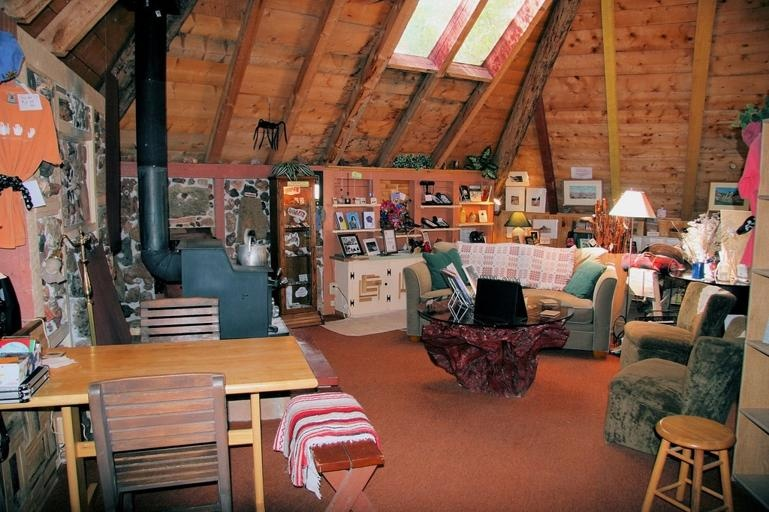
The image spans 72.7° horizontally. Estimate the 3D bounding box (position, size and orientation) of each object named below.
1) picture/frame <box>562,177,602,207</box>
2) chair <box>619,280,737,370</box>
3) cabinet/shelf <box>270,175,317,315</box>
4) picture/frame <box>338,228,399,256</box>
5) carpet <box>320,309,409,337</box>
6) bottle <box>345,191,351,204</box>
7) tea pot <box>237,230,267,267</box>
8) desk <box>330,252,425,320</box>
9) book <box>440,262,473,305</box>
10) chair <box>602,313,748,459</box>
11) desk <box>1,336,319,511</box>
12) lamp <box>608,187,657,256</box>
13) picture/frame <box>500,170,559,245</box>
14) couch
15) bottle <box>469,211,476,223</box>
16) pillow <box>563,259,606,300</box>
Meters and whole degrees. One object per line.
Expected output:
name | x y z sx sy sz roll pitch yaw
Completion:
picture/frame | 3.338 -1.117 8.797 0.649 0.446 0.045 4 10 33
chair | 2.883 0.745 5.213 0.906 0.873 0.682 -1 11 6
cabinet/shelf | -1.292 -0.117 7.454 0.751 1.995 0.610 -2 8 -18
picture/frame | -0.286 -0.222 7.953 0.897 0.393 0.416 -4 3 -37
carpet | -0.265 0.951 7.240 1.148 0.127 0.922 -3 2 -6
bottle | -0.566 -0.908 7.933 0.077 0.192 0.132 -3 3 -1
tea pot | -1.349 -0.089 5.275 0.271 0.374 0.260 -3 3 0
desk | -0.088 0.408 8.113 1.510 0.879 0.484 -3 6 -39
book | 0.769 0.305 5.457 0.105 0.434 0.327 -31 10 9
chair | 2.362 1.029 4.414 0.940 0.902 0.845 8 7 26
desk | -1.509 1.119 3.419 1.437 0.647 0.756 -1 2 -13
lamp | 3.297 -0.458 7.034 0.458 0.820 1.463 -2 2 24
picture/frame | 2.525 -0.884 9.105 0.947 1.321 0.690 -2 3 12
couch | 1.673 0.450 6.869 2.569 1.157 1.097 3 12 24
bottle | 1.532 -0.705 9.159 0.168 0.242 0.162 2 -4 0
pillow | 2.451 0.260 6.406 0.145 0.455 0.463 33 -2 -14
